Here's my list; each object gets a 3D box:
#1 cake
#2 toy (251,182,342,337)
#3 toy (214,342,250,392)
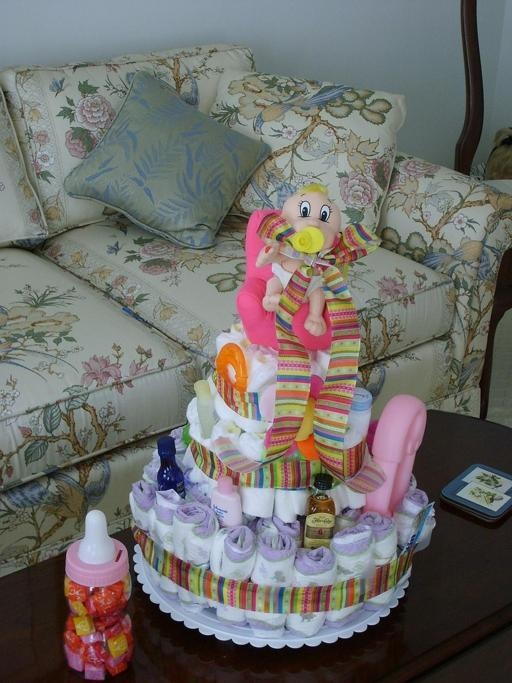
[{"bbox_3d":[0.029,0.081,0.694,0.368,0.403,0.329,5,15,24],"label":"cake"},{"bbox_3d":[0.040,-0.079,0.595,0.081,0.137,0.117,4,27,7],"label":"toy"},{"bbox_3d":[-0.022,0.025,0.607,0.024,0.043,0.054,-12,30,-23],"label":"toy"}]
